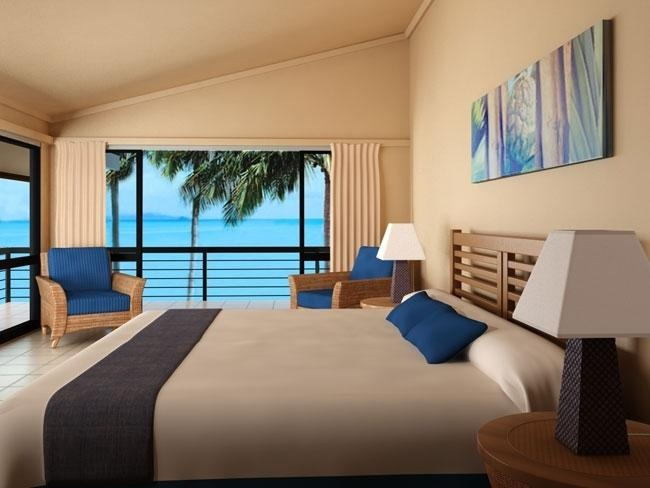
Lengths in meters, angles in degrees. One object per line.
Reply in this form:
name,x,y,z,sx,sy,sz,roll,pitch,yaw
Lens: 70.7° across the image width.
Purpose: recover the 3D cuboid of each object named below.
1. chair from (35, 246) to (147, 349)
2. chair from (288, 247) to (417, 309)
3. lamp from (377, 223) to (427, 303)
chair,-2.826,0.568,5.427,1.007,1.025,1.077,0,3,-45
chair,0.305,0.471,5.176,1.167,0.934,0.921,1,1,-32
lamp,0.733,0.161,4.319,0.427,0.694,0.435,5,6,30
